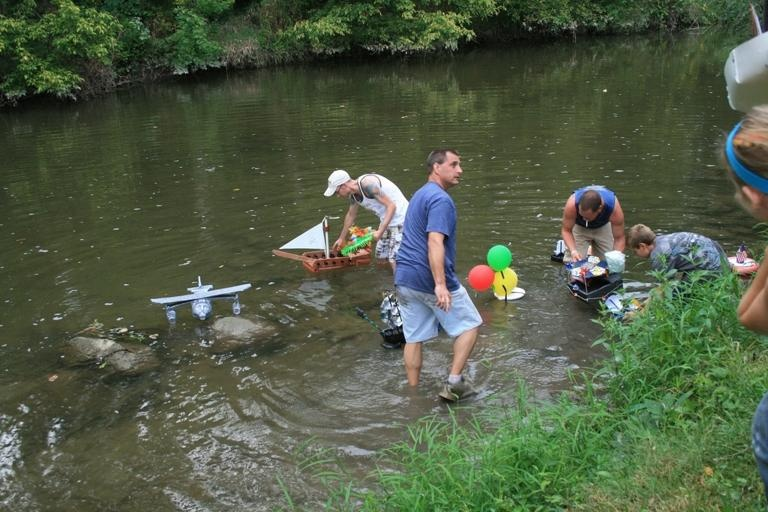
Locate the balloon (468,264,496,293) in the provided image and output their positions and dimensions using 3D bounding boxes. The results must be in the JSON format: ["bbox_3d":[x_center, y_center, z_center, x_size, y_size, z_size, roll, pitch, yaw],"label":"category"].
[{"bbox_3d":[1.609,0.356,11.809,0.441,0.386,0.494,2,-16,13],"label":"balloon"}]

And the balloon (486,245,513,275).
[{"bbox_3d":[1.856,0.031,11.863,0.338,0.405,0.217,-5,17,6],"label":"balloon"}]

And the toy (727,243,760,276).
[{"bbox_3d":[5.270,0.053,10.771,0.450,0.385,0.427,-14,17,-26],"label":"toy"}]

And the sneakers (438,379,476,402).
[{"bbox_3d":[0.971,1.822,9.903,0.494,0.217,0.251,-18,20,-37],"label":"sneakers"}]

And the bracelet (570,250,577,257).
[{"bbox_3d":[3.067,-0.058,11.822,0.108,0.092,0.172,-5,15,6],"label":"bracelet"}]

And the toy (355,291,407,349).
[{"bbox_3d":[-0.004,1.141,11.172,0.544,0.438,0.298,-4,14,21],"label":"toy"}]

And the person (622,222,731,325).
[{"bbox_3d":[4.066,0.192,10.205,1.328,0.699,1.044,14,28,33],"label":"person"}]

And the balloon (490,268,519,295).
[{"bbox_3d":[2.024,0.406,11.858,0.430,0.469,0.444,-3,1,34],"label":"balloon"}]

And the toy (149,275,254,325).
[{"bbox_3d":[-2.950,0.625,11.849,1.267,0.396,0.909,-8,15,-16],"label":"toy"}]

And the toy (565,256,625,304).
[{"bbox_3d":[3.256,0.360,11.845,0.701,0.422,0.929,-7,24,7],"label":"toy"}]

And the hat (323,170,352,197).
[{"bbox_3d":[-0.775,-1.243,12.342,0.407,0.349,0.341,-6,16,1],"label":"hat"}]
